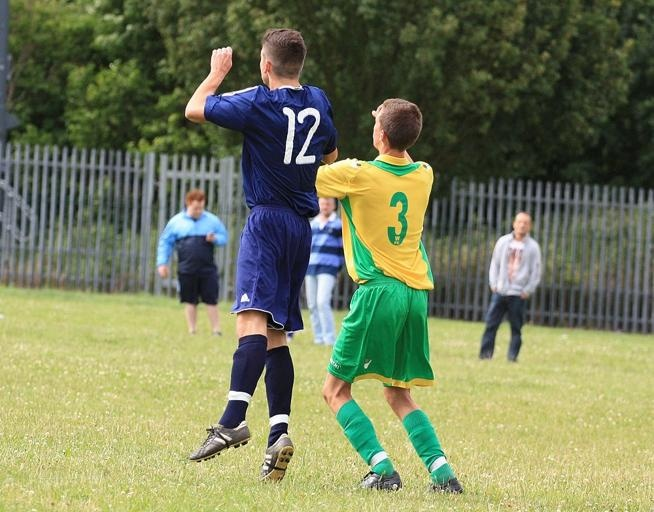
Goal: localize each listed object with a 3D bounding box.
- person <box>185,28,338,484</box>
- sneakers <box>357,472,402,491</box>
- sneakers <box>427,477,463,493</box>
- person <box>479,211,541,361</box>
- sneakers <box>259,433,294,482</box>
[{"bbox_3d":[-0.510,-0.047,10.434,1.139,3.491,0.872,0,7,-14],"label":"person"},{"bbox_3d":[0.396,1.747,10.259,0.309,0.162,0.139,1,-3,-1],"label":"sneakers"},{"bbox_3d":[0.899,1.779,10.262,0.244,0.106,0.102,4,8,8],"label":"sneakers"},{"bbox_3d":[1.562,0.252,11.342,0.458,1.231,0.441,3,7,13],"label":"person"},{"bbox_3d":[-0.428,1.592,10.321,0.151,0.479,0.209,12,29,-17],"label":"sneakers"}]
